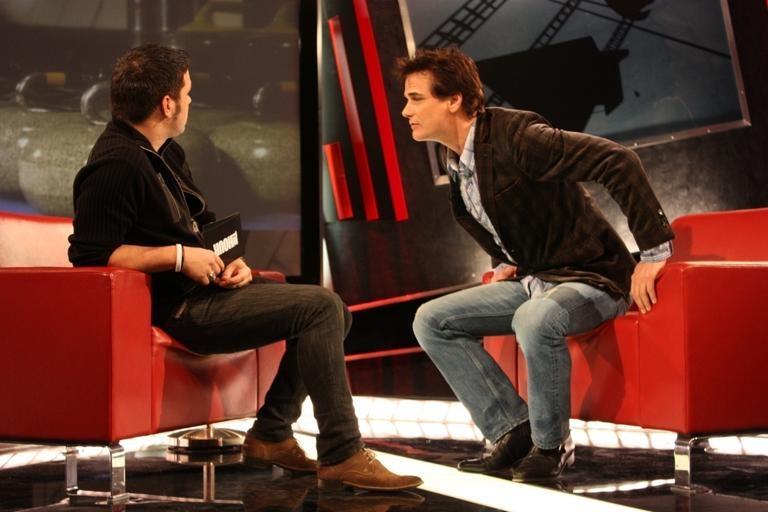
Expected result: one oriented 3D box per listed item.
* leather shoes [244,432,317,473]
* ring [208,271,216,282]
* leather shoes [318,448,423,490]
[{"bbox_3d":[-0.405,0.772,2.865,0.357,0.139,0.116,9,-5,-11],"label":"leather shoes"},{"bbox_3d":[-0.645,0.080,2.732,0.040,0.028,0.014,10,33,29],"label":"ring"},{"bbox_3d":[-0.052,0.780,2.653,0.429,0.152,0.136,1,-7,3],"label":"leather shoes"}]
